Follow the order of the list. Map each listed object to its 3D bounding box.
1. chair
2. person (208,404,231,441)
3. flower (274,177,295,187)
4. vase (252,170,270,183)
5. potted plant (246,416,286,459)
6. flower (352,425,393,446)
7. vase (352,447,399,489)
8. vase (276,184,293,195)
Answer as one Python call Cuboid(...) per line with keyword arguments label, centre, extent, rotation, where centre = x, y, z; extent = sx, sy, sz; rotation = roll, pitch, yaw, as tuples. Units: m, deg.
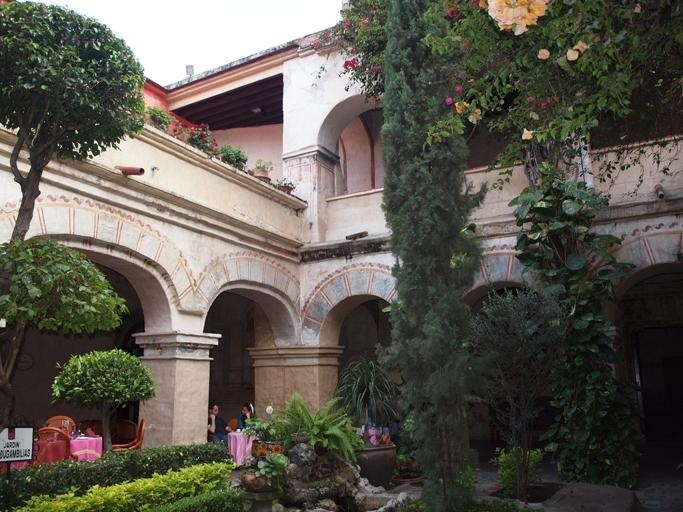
Cuboid(label="chair", centre=(-3.607, 2.437, 8.046), extent=(1.274, 0.692, 1.472), rotation=(-13, -23, 28))
Cuboid(label="person", centre=(-2.079, 2.999, 10.329), extent=(0.321, 0.804, 0.426), rotation=(-6, -11, -32))
Cuboid(label="flower", centre=(-1.053, -1.428, 11.185), extent=(0.308, 0.081, 0.318), rotation=(-1, -9, 40))
Cuboid(label="vase", centre=(-1.407, -1.416, 10.664), extent=(0.256, 0.105, 0.268), rotation=(9, -9, -22))
Cuboid(label="potted plant", centre=(-0.920, 2.216, 7.346), extent=(0.421, 0.451, 0.458), rotation=(1, -18, 4))
Cuboid(label="flower", centre=(0.434, 2.699, 9.017), extent=(0.513, 0.248, 0.538), rotation=(8, -2, 6))
Cuboid(label="vase", centre=(0.519, 3.170, 9.071), extent=(0.685, 0.714, 0.727), rotation=(-2, -8, 11))
Cuboid(label="vase", centre=(-1.017, -1.215, 10.889), extent=(0.204, 0.087, 0.170), rotation=(-3, -28, 24))
